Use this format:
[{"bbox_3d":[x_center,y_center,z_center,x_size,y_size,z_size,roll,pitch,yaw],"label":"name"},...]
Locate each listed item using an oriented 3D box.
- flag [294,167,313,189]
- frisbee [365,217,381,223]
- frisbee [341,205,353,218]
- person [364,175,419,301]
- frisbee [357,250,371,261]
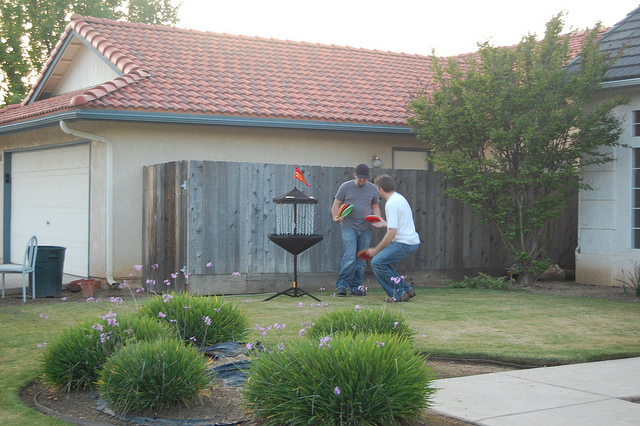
[{"bbox_3d":[-0.372,-0.743,12.443,0.313,0.391,0.792,0,4,-2],"label":"flag"},{"bbox_3d":[0.997,0.130,11.484,0.271,0.123,0.239,0,4,4],"label":"frisbee"},{"bbox_3d":[0.534,-0.032,11.990,0.111,0.342,0.060,43,-1,-27],"label":"frisbee"},{"bbox_3d":[1.344,0.476,11.390,0.915,2.361,0.881,1,5,11],"label":"person"},{"bbox_3d":[0.804,0.784,11.382,0.201,0.245,0.515,0,4,3],"label":"frisbee"}]
